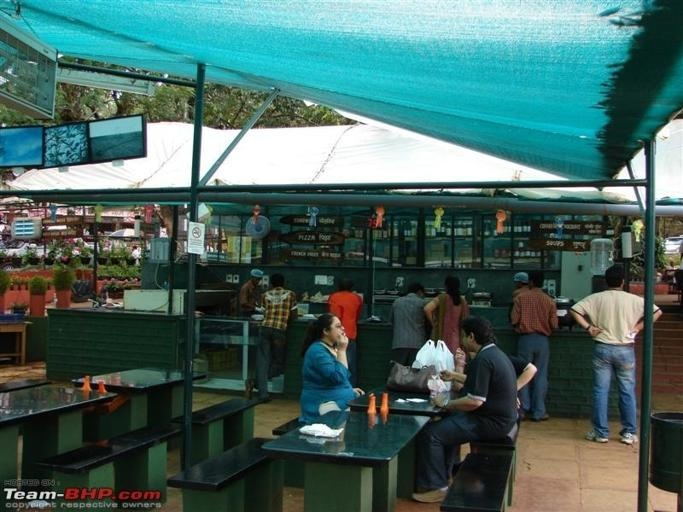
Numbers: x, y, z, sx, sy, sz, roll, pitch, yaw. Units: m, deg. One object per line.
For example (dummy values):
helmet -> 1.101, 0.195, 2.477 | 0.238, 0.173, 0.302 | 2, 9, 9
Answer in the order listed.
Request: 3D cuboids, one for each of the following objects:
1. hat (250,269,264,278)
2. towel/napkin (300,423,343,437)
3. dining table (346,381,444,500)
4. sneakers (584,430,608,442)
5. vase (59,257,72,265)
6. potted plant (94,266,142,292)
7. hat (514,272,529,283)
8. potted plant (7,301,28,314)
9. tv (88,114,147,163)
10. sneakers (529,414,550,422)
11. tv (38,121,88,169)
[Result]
hat -> -1.490, 0.281, 11.799 | 0.224, 0.122, 0.275 | 0, -6, -1
towel/napkin -> -0.167, 1.484, 5.686 | 0.210, 0.046, 0.137 | 0, -2, 14
dining table -> 0.519, 1.882, 6.957 | 1.067, 0.997, 1.166 | -1, 0, 22
sneakers -> 3.289, 2.299, 8.625 | 0.112, 0.114, 0.270 | -2, 5, -40
vase -> -9.667, 0.184, 23.493 | 0.369, 0.241, 0.354 | 1, -5, -14
potted plant -> -8.416, 0.757, 25.629 | 1.433, 0.516, 1.847 | 2, 2, 26
hat -> 2.799, 0.332, 10.420 | 0.180, 0.111, 0.212 | 0, 9, -8
potted plant -> -6.398, 1.040, 13.349 | 0.323, 0.220, 0.356 | -2, -4, 33
tv -> -2.391, -1.245, 7.153 | 0.958, 0.550, 0.123 | -4, -7, 9
sneakers -> 2.864, 2.326, 9.660 | 0.264, 0.094, 0.095 | -1, 1, -39
tv -> -3.006, -1.189, 7.239 | 0.856, 0.528, 0.034 | -3, -10, 16
